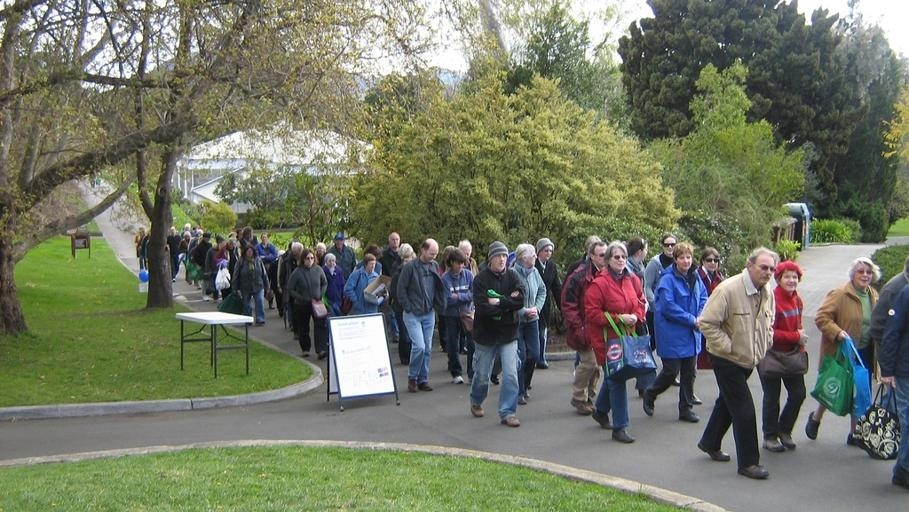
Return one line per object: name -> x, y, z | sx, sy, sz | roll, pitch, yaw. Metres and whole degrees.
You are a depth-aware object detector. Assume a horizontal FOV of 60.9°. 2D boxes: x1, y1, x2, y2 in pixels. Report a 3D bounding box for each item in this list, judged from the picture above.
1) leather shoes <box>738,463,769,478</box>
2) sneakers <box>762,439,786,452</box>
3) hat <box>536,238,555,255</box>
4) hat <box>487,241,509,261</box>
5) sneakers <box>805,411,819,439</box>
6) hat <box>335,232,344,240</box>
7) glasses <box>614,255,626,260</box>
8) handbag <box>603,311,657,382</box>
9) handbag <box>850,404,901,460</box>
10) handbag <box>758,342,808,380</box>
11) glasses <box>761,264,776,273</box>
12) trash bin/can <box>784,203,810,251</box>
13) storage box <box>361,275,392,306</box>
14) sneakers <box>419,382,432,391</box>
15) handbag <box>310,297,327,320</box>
leather shoes -> 5.841, 4.198, 15.178 | 0.466, 0.201, 0.248 | -2, 0, 22
sneakers -> 6.627, 3.930, 16.099 | 0.212, 0.184, 0.426 | 1, -9, -14
hat -> 2.283, -0.297, 19.751 | 0.347, 0.398, 0.453 | 7, 11, -27
hat -> 0.980, -0.146, 17.871 | 0.391, 0.391, 0.425 | 2, 4, -30
sneakers -> 7.667, 3.651, 16.654 | 0.221, 0.657, 0.255 | 0, -2, 13
hat -> -3.726, -0.678, 25.068 | 0.379, 0.224, 0.541 | 1, -3, -10
glasses -> 3.559, 0.010, 16.645 | 0.250, 0.118, 0.093 | 0, -2, -28
handbag -> 3.681, 1.889, 16.448 | 0.980, 1.465, 0.378 | -2, -2, 11
handbag -> 8.423, 3.488, 15.447 | 0.382, 1.101, 0.782 | 4, 24, -43
handbag -> 6.745, 1.933, 16.095 | 1.073, 1.144, 0.501 | 0, 3, 4
glasses -> 6.191, 0.204, 15.297 | 0.198, 0.252, 0.150 | 2, 8, 1
trash bin/can -> 21.424, -1.944, 48.334 | 1.324, 2.337, 1.437 | 1, 7, 8
storage box -> -2.042, 0.937, 20.834 | 0.276, 0.607, 0.829 | 17, -50, -38
sneakers -> -0.760, 3.321, 19.636 | 0.352, 0.152, 0.162 | -5, -5, 35
handbag -> -3.789, 1.441, 21.627 | 0.475, 0.702, 0.260 | -8, 9, -9
